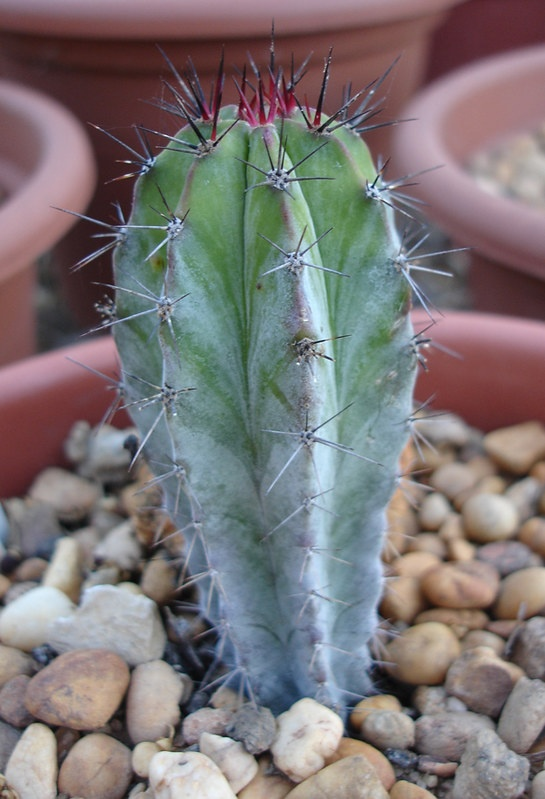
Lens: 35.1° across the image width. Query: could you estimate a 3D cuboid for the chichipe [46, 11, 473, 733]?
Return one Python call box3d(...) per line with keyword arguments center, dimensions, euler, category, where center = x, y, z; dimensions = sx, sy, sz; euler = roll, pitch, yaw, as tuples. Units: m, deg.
box3d(center=(0.010, -0.039, 1.201), dimensions=(0.474, 0.832, 0.436), euler=(-4, -10, 15), category="chichipe")
